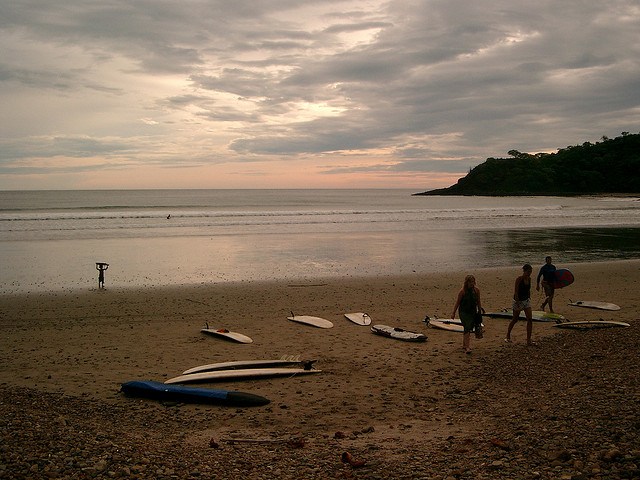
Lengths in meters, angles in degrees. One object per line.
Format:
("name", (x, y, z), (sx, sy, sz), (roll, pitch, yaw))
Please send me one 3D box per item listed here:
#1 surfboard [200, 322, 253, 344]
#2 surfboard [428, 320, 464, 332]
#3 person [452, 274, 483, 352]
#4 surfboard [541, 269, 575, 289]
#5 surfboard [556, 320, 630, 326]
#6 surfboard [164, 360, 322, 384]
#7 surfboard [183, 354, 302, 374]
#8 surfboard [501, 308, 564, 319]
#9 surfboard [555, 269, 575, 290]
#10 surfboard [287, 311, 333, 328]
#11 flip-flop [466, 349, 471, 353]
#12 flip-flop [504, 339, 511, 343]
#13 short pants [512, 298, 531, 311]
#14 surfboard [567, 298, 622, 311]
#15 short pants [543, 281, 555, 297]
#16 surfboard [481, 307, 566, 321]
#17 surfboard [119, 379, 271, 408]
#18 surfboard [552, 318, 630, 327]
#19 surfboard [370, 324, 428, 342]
("surfboard", (-2.357, 2.377, 15.333), (2.036, 0.312, 0.391), (7, 13, 34))
("surfboard", (3.289, 2.207, 15.711), (0.480, 0.128, 1.100), (-10, 13, -43))
("person", (3.378, 1.664, 13.948), (0.635, 1.786, 0.705), (1, 16, 10))
("surfboard", (6.824, 1.067, 16.954), (0.424, 0.438, 0.515), (4, 14, 23))
("surfboard", (6.624, 2.032, 14.874), (1.868, 0.083, 0.359), (1, -7, -35))
("surfboard", (-1.682, 2.846, 12.904), (3.612, 0.230, 0.798), (0, -1, -6))
("surfboard", (-1.788, 2.727, 13.355), (3.430, 0.207, 0.587), (0, -3, -5))
("surfboard", (5.900, 1.971, 16.553), (0.586, 0.073, 1.597), (-2, 3, -31))
("surfboard", (6.837, 1.088, 16.992), (0.432, 0.492, 0.439), (3, 14, 16))
("surfboard", (-0.184, 2.138, 16.248), (1.209, 0.115, 0.376), (6, 8, 44))
("flip-flop", (3.392, 2.537, 13.827), (0.098, 0.057, 0.057), (-7, 14, -26))
("flip-flop", (4.457, 2.384, 14.382), (0.163, 0.035, 0.166), (1, -4, 17))
("short pants", (4.713, 1.478, 14.025), (0.387, 0.180, 0.371), (-1, 5, -43))
("surfboard", (7.847, 1.862, 17.113), (0.723, 0.144, 1.221), (-5, 10, -26))
("short pants", (6.279, 1.315, 16.635), (0.306, 0.381, 0.395), (2, 14, 15))
("surfboard", (5.471, 2.013, 16.411), (2.101, 0.194, 0.635), (2, 6, 41))
("surfboard", (-1.942, 3.066, 12.014), (4.370, 0.256, 0.749), (2, 8, 3))
("surfboard", (6.700, 2.055, 15.032), (2.209, 0.137, 0.379), (-3, 4, 6))
("surfboard", (1.976, 2.288, 14.984), (0.941, 0.087, 0.479), (5, 5, 43))
